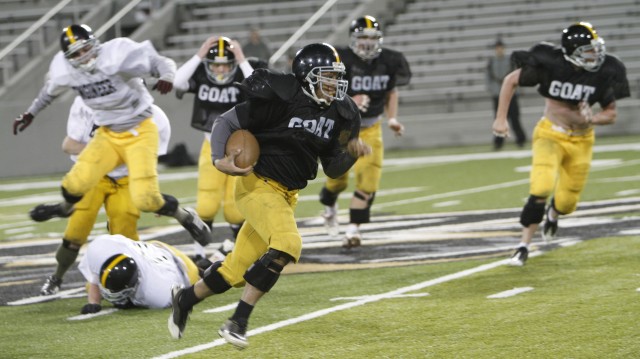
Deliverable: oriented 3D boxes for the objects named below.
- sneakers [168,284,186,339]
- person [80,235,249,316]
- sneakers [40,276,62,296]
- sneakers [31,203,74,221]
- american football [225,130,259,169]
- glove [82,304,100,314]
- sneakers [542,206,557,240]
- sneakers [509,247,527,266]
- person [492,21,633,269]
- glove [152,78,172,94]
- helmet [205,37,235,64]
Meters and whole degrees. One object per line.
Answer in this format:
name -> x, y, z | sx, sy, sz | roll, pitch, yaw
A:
sneakers -> -1.347, 1.261, 6.429 | 0.211, 0.490, 0.177 | -4, -10, 24
person -> -1.885, 0.951, 7.138 | 0.823, 0.445, 1.126 | 5, 8, 7
sneakers -> -2.987, 1.188, 7.527 | 0.120, 0.144, 0.347 | 27, -1, -2
sneakers -> -2.980, 0.355, 7.470 | 0.592, 0.197, 0.248 | -3, -3, 3
american football -> -0.700, -0.292, 6.327 | 0.222, 0.343, 0.296 | -9, 2, 36
glove -> -2.378, 1.340, 6.967 | 0.107, 0.049, 0.146 | 6, 9, 37
sneakers -> 2.726, 0.531, 7.961 | 0.157, 0.420, 0.176 | 4, 19, 8
sneakers -> 2.208, 0.848, 7.414 | 0.127, 0.116, 0.285 | -3, 9, 33
person -> 2.742, -0.427, 7.552 | 1.464, 2.617, 0.558 | -4, 6, -2
glove -> -1.697, -1.006, 7.283 | 0.171, 0.160, 0.051 | 23, -7, 14
helmet -> -1.220, -1.581, 8.307 | 0.296, 0.349, 0.303 | 1, 6, -11
